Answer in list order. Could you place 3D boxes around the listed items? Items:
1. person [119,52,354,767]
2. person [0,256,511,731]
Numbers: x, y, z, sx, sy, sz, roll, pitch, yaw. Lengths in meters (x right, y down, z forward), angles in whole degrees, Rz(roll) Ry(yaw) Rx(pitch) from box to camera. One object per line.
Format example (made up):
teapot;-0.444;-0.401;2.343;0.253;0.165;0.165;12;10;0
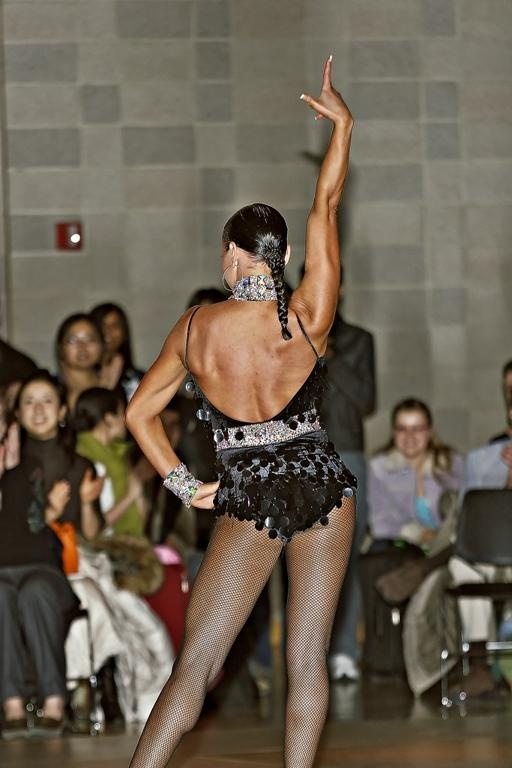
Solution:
person;-0.035;0.060;2.307;0.500;1.530;0.228;1;-5;-4
person;0.001;0.450;3.741;2.071;1.285;0.711;0;-13;1
